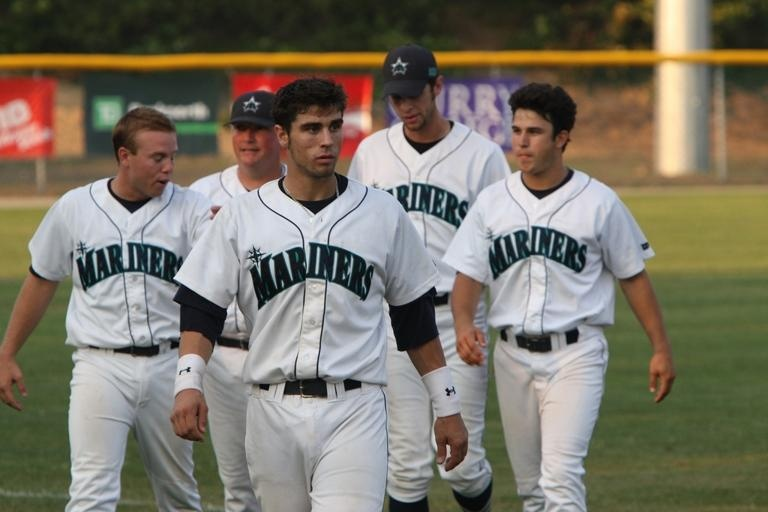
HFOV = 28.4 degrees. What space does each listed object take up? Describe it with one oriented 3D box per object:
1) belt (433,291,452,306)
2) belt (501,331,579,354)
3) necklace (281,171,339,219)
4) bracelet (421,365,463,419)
[{"bbox_3d":[0.586,0.449,15.614,0.150,0.151,0.053,-2,3,1],"label":"belt"},{"bbox_3d":[1.538,0.833,14.781,0.690,0.223,0.112,0,8,13],"label":"belt"},{"bbox_3d":[-0.641,-0.546,13.907,0.372,0.451,0.493,0,-15,2],"label":"necklace"},{"bbox_3d":[0.530,1.267,14.061,0.264,0.492,0.350,-1,-5,4],"label":"bracelet"}]
